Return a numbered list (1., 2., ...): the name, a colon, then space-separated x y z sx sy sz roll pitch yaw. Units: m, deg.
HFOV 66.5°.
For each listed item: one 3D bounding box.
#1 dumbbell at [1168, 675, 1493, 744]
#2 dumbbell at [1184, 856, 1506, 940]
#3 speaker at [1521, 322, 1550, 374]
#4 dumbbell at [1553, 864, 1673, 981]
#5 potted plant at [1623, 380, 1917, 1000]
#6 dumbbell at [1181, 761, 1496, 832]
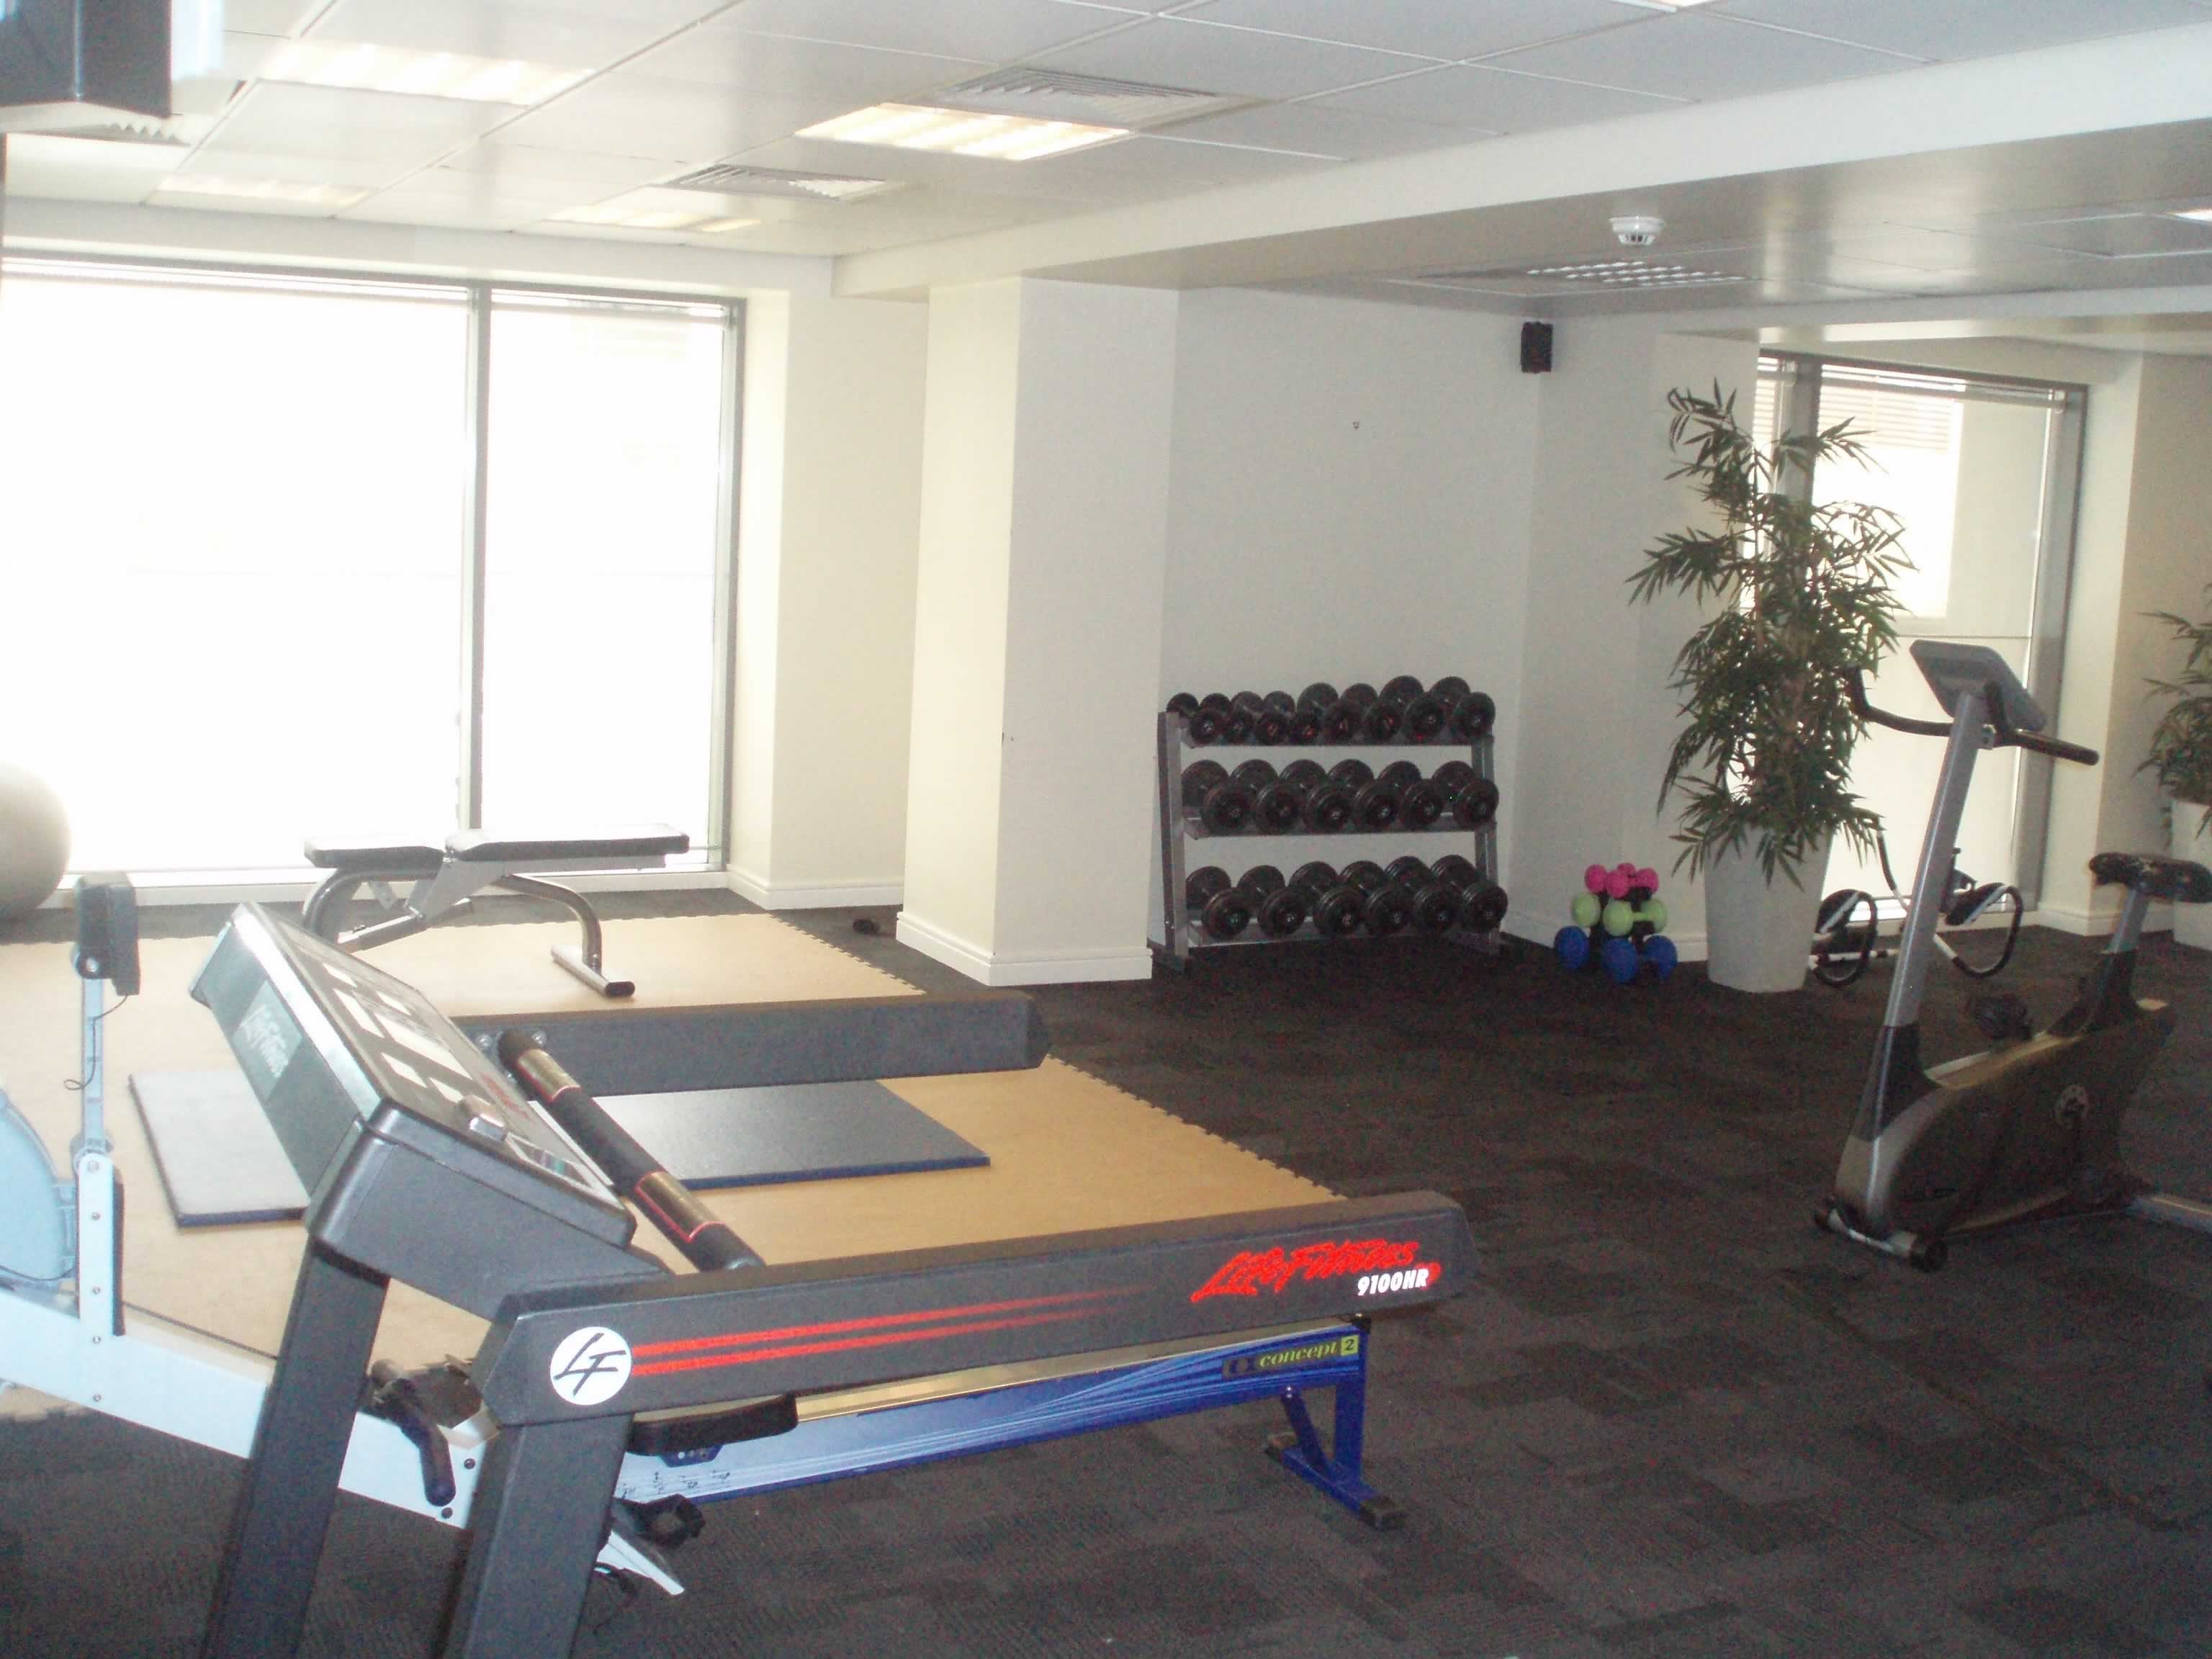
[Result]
1. dumbbell: 1.114 -0.546 8.105 1.626 0.348 0.401 -1 9 -24
2. dumbbell: 1.137 0.355 8.126 1.632 0.371 0.366 -1 11 -20
3. speaker: 2.199 -2.475 8.655 0.162 0.243 0.072 -1 11 -18
4. dumbbell: 2.461 0.424 8.220 0.559 0.523 0.557 3 9 22
5. potted plant: 2.948 -0.717 7.787 1.147 3.420 0.750 -3 10 -29
6. dumbbell: 1.117 -0.142 8.103 1.591 0.347 0.260 -2 11 -22
